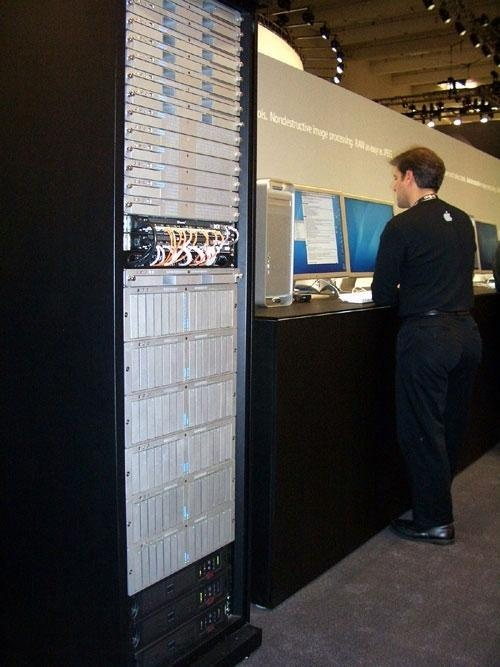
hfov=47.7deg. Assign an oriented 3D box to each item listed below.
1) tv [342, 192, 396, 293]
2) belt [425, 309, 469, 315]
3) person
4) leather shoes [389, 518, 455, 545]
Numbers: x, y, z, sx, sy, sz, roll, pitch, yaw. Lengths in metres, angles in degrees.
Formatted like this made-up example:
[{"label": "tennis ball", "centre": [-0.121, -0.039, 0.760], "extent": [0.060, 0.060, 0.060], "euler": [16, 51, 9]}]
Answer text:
[{"label": "tv", "centre": [0.572, -0.443, 2.753], "extent": [0.053, 0.452, 0.617], "euler": [-1, 1, 30]}, {"label": "belt", "centre": [0.798, -0.086, 2.274], "extent": [0.239, 0.029, 0.046], "euler": [-2, 6, -33]}, {"label": "person", "centre": [0.755, 0.146, 2.347], "extent": [0.526, 1.422, 0.266], "euler": [0, 5, -23]}, {"label": "leather shoes", "centre": [0.713, 0.823, 2.344], "extent": [0.246, 0.119, 0.100], "euler": [8, 6, 22]}]
